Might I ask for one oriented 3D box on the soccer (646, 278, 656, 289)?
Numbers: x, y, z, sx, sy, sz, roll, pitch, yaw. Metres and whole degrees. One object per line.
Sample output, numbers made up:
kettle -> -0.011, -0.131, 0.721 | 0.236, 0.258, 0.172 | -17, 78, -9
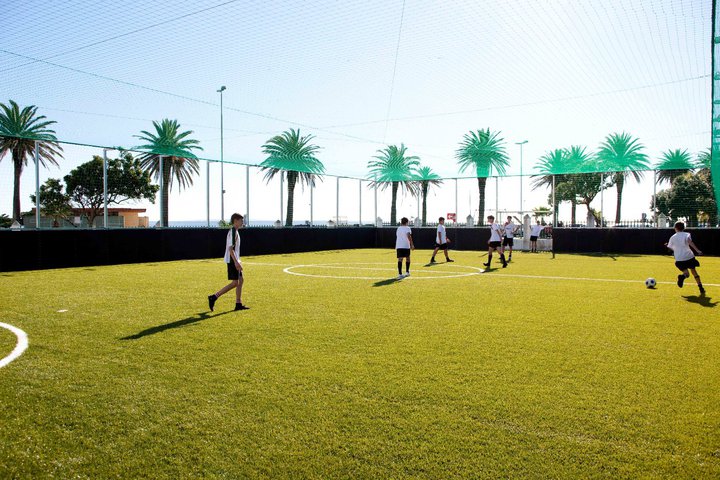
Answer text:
soccer -> 8.396, 1.257, 14.523 | 0.178, 0.177, 0.201 | 2, 37, 7
